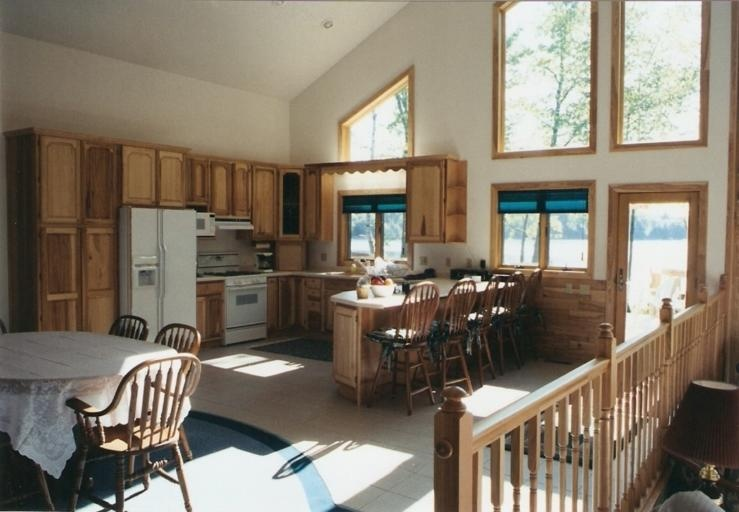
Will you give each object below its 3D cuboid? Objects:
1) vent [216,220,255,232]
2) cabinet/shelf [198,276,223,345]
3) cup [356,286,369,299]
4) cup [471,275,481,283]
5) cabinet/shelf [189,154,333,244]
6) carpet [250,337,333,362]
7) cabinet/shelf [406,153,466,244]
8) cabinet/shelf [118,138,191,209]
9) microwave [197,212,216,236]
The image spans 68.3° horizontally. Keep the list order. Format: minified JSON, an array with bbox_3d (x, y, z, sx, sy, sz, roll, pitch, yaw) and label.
[{"bbox_3d":[-2.157,-0.490,8.568,0.462,0.159,0.743,-2,1,14],"label":"vent"},{"bbox_3d":[-2.326,0.821,7.946,0.430,1.014,0.193,-3,3,-29],"label":"cabinet/shelf"},{"bbox_3d":[-0.071,0.394,5.902,0.130,0.101,0.122,1,-2,0],"label":"cup"},{"bbox_3d":[1.406,0.296,7.179,0.128,0.092,0.129,0,7,0],"label":"cup"},{"bbox_3d":[-1.695,-0.888,8.847,2.252,1.287,0.485,-3,2,-31],"label":"cabinet/shelf"},{"bbox_3d":[-1.130,1.351,8.006,1.124,0.089,1.472,-2,1,-6],"label":"carpet"},{"bbox_3d":[1.003,-0.833,8.056,0.910,1.280,0.307,-2,3,3],"label":"cabinet/shelf"},{"bbox_3d":[-2.904,-1.080,7.257,0.481,1.054,1.164,0,-1,38],"label":"cabinet/shelf"},{"bbox_3d":[-2.419,-0.474,8.052,0.210,0.362,0.471,-2,2,-2],"label":"microwave"}]
